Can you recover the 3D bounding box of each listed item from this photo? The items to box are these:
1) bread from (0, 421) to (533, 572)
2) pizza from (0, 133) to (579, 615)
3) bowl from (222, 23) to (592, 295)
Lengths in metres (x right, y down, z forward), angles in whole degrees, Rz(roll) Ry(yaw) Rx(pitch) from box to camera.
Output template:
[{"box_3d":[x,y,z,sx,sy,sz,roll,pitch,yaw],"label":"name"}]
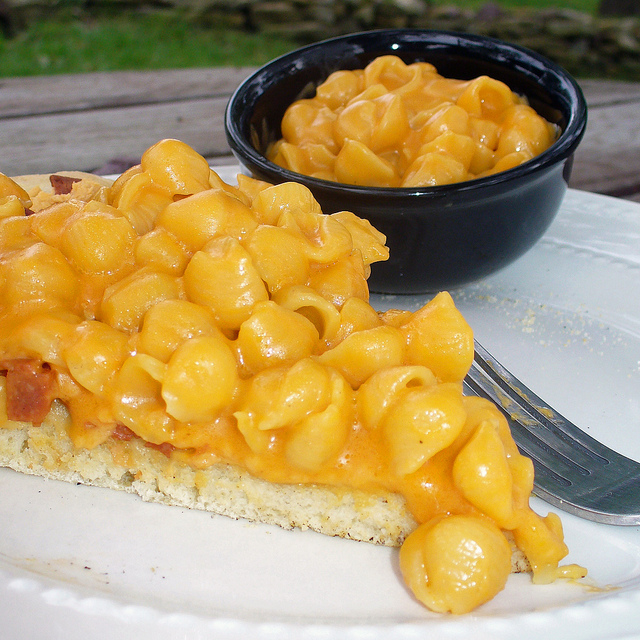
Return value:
[{"box_3d":[-0.038,0.175,0.847,0.551,0.038,0.071,8,43,10],"label":"bread"},{"box_3d":[-0.089,0.061,0.928,0.669,0.214,0.354,24,42,25],"label":"pizza"},{"box_3d":[0.131,-0.253,1.287,0.423,0.184,0.351,4,56,-2],"label":"bowl"}]
